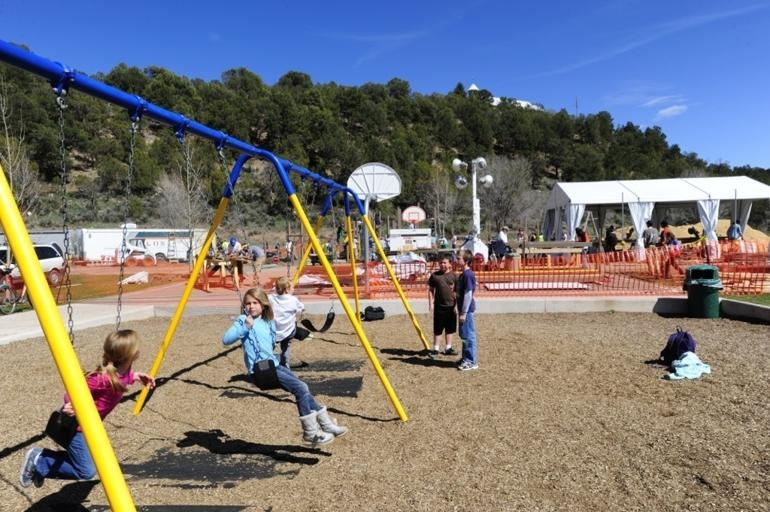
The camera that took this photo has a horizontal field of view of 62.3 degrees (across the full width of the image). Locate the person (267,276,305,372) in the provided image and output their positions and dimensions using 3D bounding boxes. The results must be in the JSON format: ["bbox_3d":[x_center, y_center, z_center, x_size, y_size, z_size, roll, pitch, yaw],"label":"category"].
[{"bbox_3d":[-1.789,1.139,11.102,0.595,1.687,0.795,1,-1,3],"label":"person"}]

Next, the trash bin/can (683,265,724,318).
[{"bbox_3d":[7.152,0.813,14.361,0.732,1.149,0.427,1,5,27],"label":"trash bin/can"}]

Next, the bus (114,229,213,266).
[{"bbox_3d":[-11.262,-0.353,31.994,4.880,2.057,1.818,-2,-2,-6],"label":"bus"}]

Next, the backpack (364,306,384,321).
[{"bbox_3d":[-0.267,1.378,15.064,0.530,0.302,0.320,-3,4,-13],"label":"backpack"}]

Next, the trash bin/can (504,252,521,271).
[{"bbox_3d":[4.134,0.222,20.415,0.513,0.630,0.522,-4,-5,41],"label":"trash bin/can"}]

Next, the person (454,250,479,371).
[{"bbox_3d":[1.449,1.054,11.358,0.480,1.873,0.608,1,-1,-1],"label":"person"}]

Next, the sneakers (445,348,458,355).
[{"bbox_3d":[1.261,1.851,12.160,0.271,0.112,0.209,-5,-9,11],"label":"sneakers"}]

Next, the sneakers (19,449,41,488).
[{"bbox_3d":[-4.596,2.769,8.270,0.248,0.521,0.122,-1,4,2],"label":"sneakers"}]

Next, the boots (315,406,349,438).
[{"bbox_3d":[-0.820,2.496,9.451,0.609,0.479,0.248,2,5,-8],"label":"boots"}]

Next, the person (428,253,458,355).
[{"bbox_3d":[1.055,0.965,11.864,0.513,1.697,0.693,0,0,-14],"label":"person"}]

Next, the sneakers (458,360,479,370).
[{"bbox_3d":[1.501,1.971,11.408,0.342,0.171,0.135,0,-2,6],"label":"sneakers"}]

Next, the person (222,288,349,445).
[{"bbox_3d":[-1.523,1.645,9.239,1.479,2.364,0.515,-2,4,-6],"label":"person"}]
